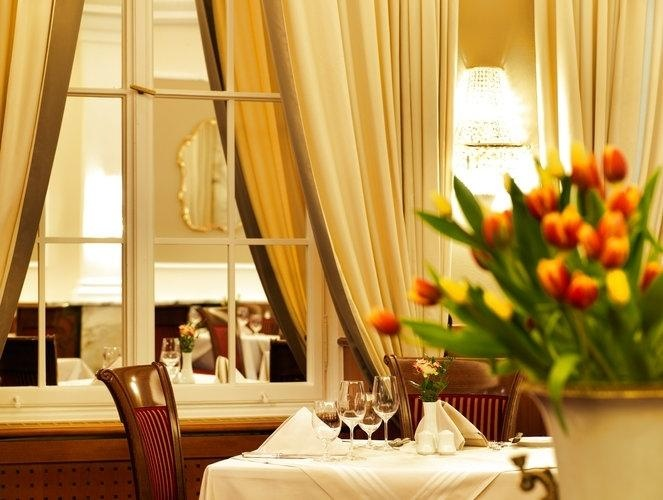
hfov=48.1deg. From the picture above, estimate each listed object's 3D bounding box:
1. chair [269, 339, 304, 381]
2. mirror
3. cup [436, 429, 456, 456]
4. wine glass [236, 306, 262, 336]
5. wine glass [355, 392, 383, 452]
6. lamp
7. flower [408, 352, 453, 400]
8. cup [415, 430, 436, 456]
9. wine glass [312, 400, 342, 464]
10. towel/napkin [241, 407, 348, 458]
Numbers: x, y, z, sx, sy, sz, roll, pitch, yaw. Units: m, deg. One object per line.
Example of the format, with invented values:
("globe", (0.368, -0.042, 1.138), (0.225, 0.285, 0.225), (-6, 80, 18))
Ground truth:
("chair", (-0.217, 0.511, 3.733), (0.186, 0.255, 0.160), (0, -3, -3))
("mirror", (-0.549, -0.374, 3.611), (0.386, 0.715, 0.056), (-4, 42, -14))
("cup", (0.366, 0.606, 2.359), (0.051, 0.075, 0.058), (2, -6, -3))
("wine glass", (-0.398, 0.341, 3.636), (0.103, 0.228, 0.121), (-1, -2, 20))
("wine glass", (0.123, 0.540, 2.392), (0.089, 0.190, 0.095), (-3, 4, -35))
("lamp", (0.752, -0.645, 3.693), (0.282, 0.528, 0.297), (-19, 31, -32))
("flower", (0.340, 0.435, 2.484), (0.065, 0.122, 0.083), (-15, 1, 17))
("cup", (0.298, 0.600, 2.352), (0.043, 0.073, 0.066), (-3, -16, 13))
("wine glass", (-0.016, 0.534, 2.260), (0.073, 0.217, 0.079), (-3, 18, -8))
("towel/napkin", (-0.128, 0.634, 2.578), (0.261, 0.196, 0.429), (-1, -8, 7))
